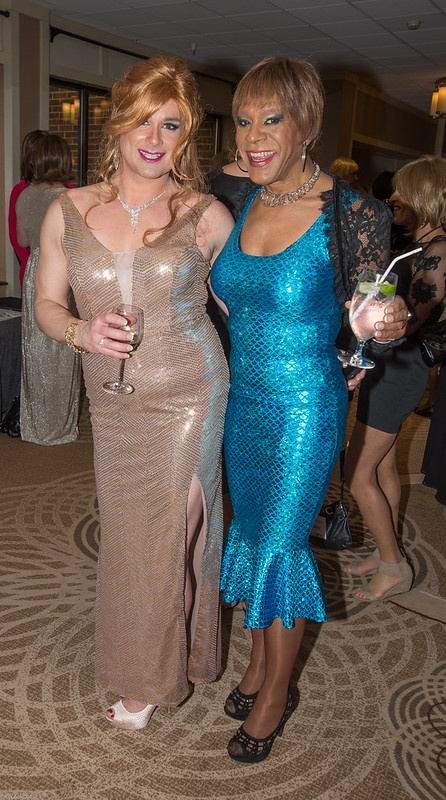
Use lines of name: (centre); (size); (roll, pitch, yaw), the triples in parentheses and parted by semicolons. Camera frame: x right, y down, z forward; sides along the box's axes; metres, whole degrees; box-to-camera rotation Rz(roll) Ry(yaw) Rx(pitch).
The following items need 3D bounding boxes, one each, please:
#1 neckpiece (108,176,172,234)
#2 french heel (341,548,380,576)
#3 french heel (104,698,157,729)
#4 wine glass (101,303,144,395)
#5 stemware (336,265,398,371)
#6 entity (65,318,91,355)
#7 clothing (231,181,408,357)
neckpiece: (-0.217, -0.496, 1.514); (0.172, 0.165, 0.029); (2, -25, 3)
french heel: (0.655, 0.750, 2.729); (0.228, 0.061, 0.080); (-13, 10, 5)
french heel: (-0.261, 0.884, 1.646); (0.128, 0.044, 0.074); (-3, 22, -37)
wine glass: (-0.238, -0.110, 1.381); (0.083, 0.224, 0.204); (2, 9, -13)
stemware: (0.349, -0.193, 1.428); (0.115, 0.249, 0.290); (6, 9, 11)
entity: (-0.366, -0.157, 1.438); (0.034, 0.078, 0.068); (-2, 4, -2)
clothing: (0.310, -0.303, 1.423); (0.283, 0.366, 0.160); (3, 10, 37)
